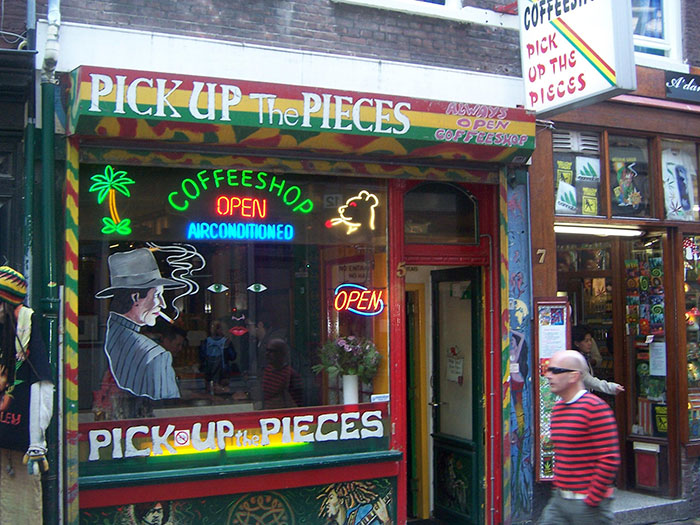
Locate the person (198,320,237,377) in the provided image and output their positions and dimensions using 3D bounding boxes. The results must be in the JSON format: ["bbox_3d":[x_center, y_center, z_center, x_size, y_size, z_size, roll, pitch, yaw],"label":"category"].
[{"bbox_3d":[-1.324,0.965,8.323,0.326,0.810,0.312,6,19,1],"label":"person"}]
